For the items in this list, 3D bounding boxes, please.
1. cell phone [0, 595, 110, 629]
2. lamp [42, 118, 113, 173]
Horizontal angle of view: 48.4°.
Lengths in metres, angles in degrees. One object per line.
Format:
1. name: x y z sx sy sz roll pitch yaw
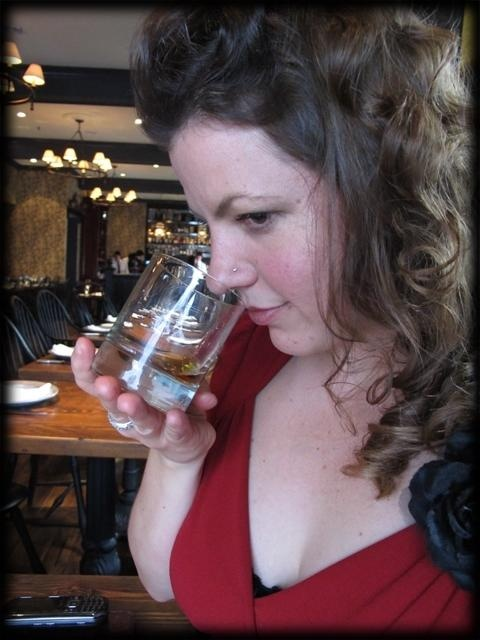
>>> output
1. cell phone: -0.274 0.416 0.785 0.107 0.018 0.061 0 -3 -4
2. lamp: -2.420 -2.370 8.016 1.078 0.967 1.067 3 10 -25
